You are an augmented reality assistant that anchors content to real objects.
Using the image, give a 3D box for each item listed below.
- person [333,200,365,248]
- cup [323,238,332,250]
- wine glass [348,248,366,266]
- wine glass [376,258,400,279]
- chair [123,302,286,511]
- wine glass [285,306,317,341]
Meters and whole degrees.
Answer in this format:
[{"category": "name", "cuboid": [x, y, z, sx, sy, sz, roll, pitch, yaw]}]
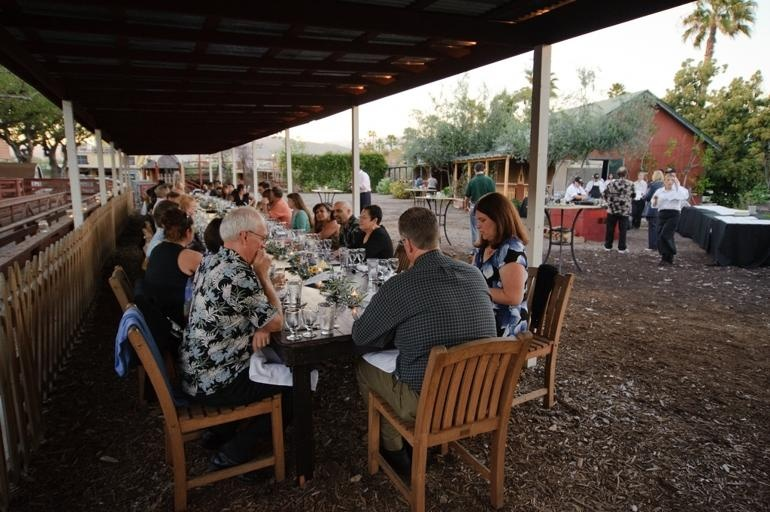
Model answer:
[{"category": "person", "cuboid": [-0.531, -0.447, 6.872, 0.558, 0.894, 0.816, -2, -1, -6]}, {"category": "cup", "cuboid": [-0.701, -0.147, 5.629, 0.126, 0.137, 0.128, 1, 14, 0]}, {"category": "wine glass", "cuboid": [-0.331, -0.001, 5.239, 0.182, 0.197, 0.179, -7, 16, -31]}, {"category": "wine glass", "cuboid": [0.040, 0.127, 4.604, 0.197, 0.204, 0.184, -1, 5, 12]}, {"category": "chair", "cuboid": [-1.555, 1.002, 4.619, 1.565, 2.320, 1.326, -5, 12, -19]}, {"category": "wine glass", "cuboid": [-0.679, 0.538, 3.711, 0.228, 0.188, 0.260, 0, 2, -5]}]
